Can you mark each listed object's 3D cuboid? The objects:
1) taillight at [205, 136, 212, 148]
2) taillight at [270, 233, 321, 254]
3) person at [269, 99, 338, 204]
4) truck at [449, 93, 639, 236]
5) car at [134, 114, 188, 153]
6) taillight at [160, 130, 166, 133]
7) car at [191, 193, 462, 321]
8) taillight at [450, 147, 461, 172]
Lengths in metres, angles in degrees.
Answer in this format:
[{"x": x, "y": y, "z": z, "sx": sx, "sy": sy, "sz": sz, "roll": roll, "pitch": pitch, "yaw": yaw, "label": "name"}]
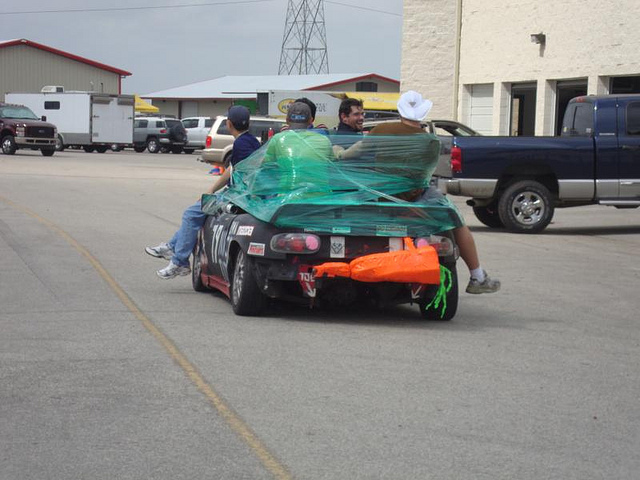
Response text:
[{"x": -4.778, "y": -4.135, "z": 27.374, "sx": 0.133, "sy": 0.403, "sz": 0.263, "roll": 8, "pitch": 8, "yaw": 0, "label": "taillight"}, {"x": -0.237, "y": 0.033, "z": 6.052, "sx": 0.464, "sy": 0.187, "sz": 0.118, "roll": 1, "pitch": 8, "yaw": -5, "label": "taillight"}, {"x": -0.178, "y": -0.898, "z": 6.525, "sx": 0.652, "sy": 0.992, "sz": 1.132, "roll": 0, "pitch": 8, "yaw": -12, "label": "person"}, {"x": 5.065, "y": -1.827, "z": 14.475, "sx": 4.838, "sy": 1.878, "sz": 2.440, "roll": -4, "pitch": 7, "yaw": -7, "label": "truck"}, {"x": -11.556, "y": -7.505, "z": 46.728, "sx": 3.829, "sy": 2.526, "sz": 2.006, "roll": 3, "pitch": 8, "yaw": 3, "label": "car"}, {"x": -11.284, "y": -7.739, "z": 46.224, "sx": 0.412, "sy": 0.187, "sz": 0.061, "roll": 2, "pitch": 9, "yaw": -3, "label": "taillight"}, {"x": -0.091, "y": 0.038, "z": 7.732, "sx": 2.408, "sy": 1.050, "sz": 3.950, "roll": 0, "pitch": 5, "yaw": -16, "label": "car"}, {"x": 2.870, "y": -1.672, "z": 13.547, "sx": 0.218, "sy": 0.508, "sz": 0.110, "roll": 4, "pitch": 9, "yaw": 9, "label": "taillight"}]
